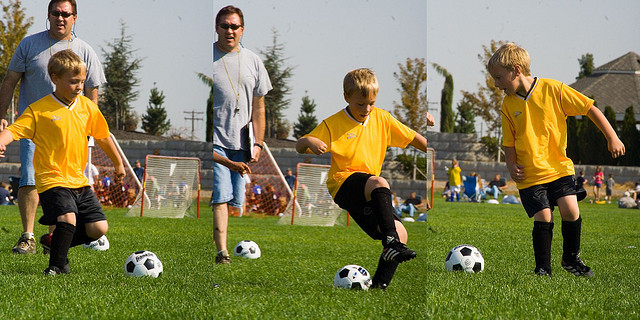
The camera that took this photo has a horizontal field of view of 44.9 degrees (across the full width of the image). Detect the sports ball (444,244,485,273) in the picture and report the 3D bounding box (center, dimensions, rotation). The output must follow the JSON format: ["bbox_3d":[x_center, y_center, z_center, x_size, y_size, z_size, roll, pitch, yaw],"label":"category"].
[{"bbox_3d":[2.550,1.771,13.613,0.544,0.508,0.465,0,0,0],"label":"sports ball"}]

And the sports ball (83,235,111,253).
[{"bbox_3d":[-4.036,1.577,13.935,0.420,0.366,0.392,-3,-1,0],"label":"sports ball"}]

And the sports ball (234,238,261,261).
[{"bbox_3d":[-1.322,1.674,14.197,0.385,0.352,0.376,15,17,-5],"label":"sports ball"}]
